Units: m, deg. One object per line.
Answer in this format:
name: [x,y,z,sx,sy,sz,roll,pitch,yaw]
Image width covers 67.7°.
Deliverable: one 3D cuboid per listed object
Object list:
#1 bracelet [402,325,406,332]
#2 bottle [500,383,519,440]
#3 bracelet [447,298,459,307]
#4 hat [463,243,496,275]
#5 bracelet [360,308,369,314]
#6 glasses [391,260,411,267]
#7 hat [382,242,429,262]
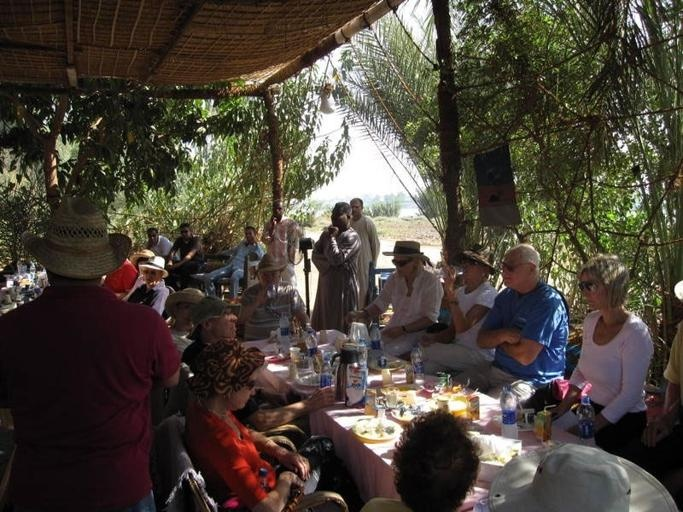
bracelet: [0.629,0.748,5.110,0.011,0.048,0.042,-26,21,-7]
bottle: [0.971,0.925,2.932,0.099,0.274,0.235,0,4,19]
bracelet: [1.059,0.448,4.809,0.084,0.035,0.090,-1,3,-3]
hat: [1.356,0.000,4.930,0.308,0.139,0.272,38,-14,0]
bracelet: [0.256,0.631,5.697,0.132,0.066,0.152,1,4,4]
glasses: [0.607,0.091,5.166,0.156,0.080,0.087,-1,3,17]
hat: [0.693,-0.038,5.189,0.287,0.128,0.242,17,-10,-42]
